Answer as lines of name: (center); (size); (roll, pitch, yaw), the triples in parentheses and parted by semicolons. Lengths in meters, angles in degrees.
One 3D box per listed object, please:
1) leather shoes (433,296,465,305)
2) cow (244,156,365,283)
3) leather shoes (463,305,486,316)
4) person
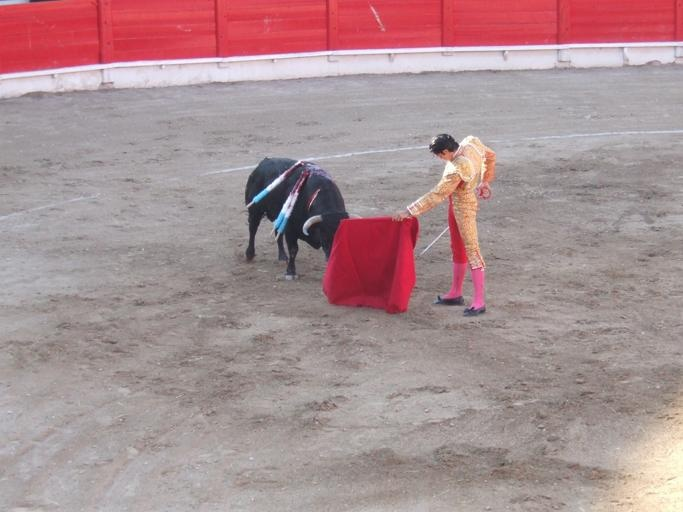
leather shoes: (0.743, 0.308, 5.582); (0.161, 0.042, 0.081); (3, 4, 6)
cow: (-0.377, -0.282, 6.073); (0.495, 0.876, 1.136); (-11, 15, -25)
leather shoes: (0.880, 0.373, 5.330); (0.137, 0.037, 0.065); (0, 3, -20)
person: (0.760, -0.243, 5.527); (0.580, 1.197, 0.779); (-1, 15, 10)
